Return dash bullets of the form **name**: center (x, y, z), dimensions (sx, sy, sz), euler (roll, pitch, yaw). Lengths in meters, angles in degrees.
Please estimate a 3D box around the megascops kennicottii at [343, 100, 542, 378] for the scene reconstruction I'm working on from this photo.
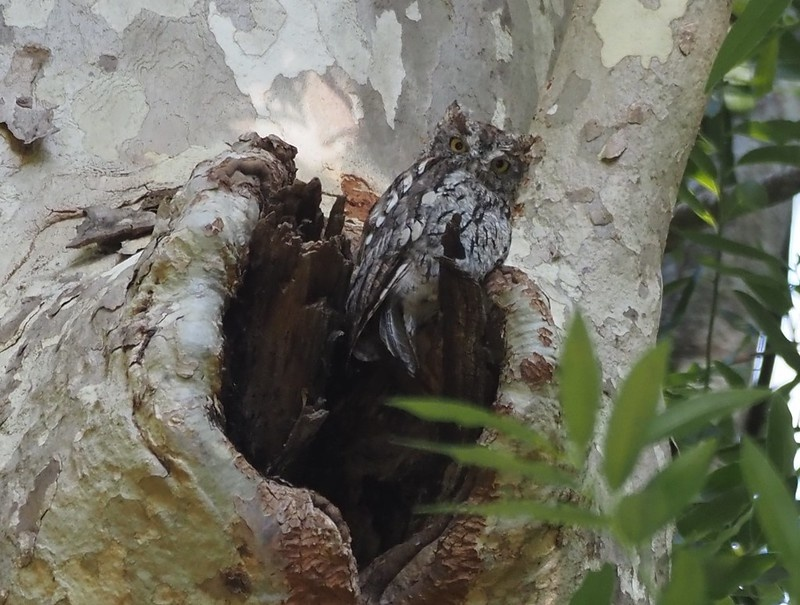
- **megascops kennicottii**: center (0.084, -0.140, 3.754), dimensions (0.358, 0.519, 0.761), euler (38, 35, -22)
